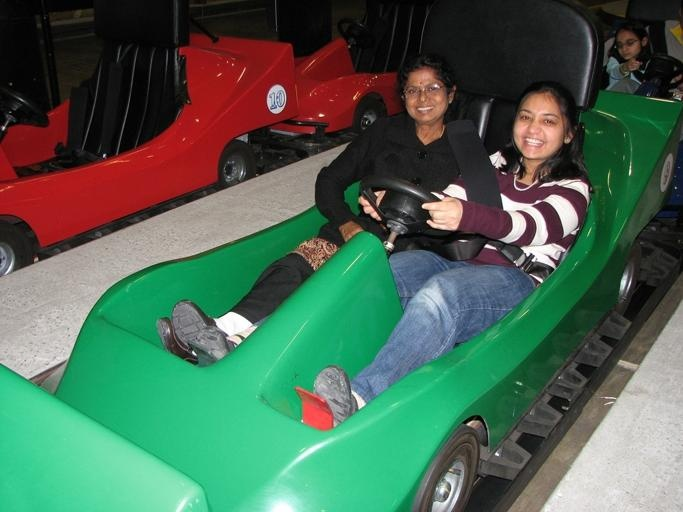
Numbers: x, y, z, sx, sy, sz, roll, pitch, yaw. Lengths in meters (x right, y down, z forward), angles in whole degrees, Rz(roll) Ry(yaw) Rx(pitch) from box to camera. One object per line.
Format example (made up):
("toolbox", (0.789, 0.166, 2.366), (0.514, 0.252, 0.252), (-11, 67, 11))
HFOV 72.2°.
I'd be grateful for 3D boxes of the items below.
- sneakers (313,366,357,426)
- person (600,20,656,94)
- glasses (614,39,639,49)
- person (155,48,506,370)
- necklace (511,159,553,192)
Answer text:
("sneakers", (-0.014, 0.334, 1.132), (0.074, 0.161, 0.065), (3, 24, 30))
("person", (2.039, -1.423, 3.340), (0.272, 0.439, 0.865), (16, 29, 25))
("glasses", (2.083, -1.554, 3.413), (0.104, 0.036, 0.111), (10, -16, 40))
("person", (-0.035, -0.138, 1.568), (0.540, 0.726, 1.180), (15, 28, 27))
("necklace", (0.620, -0.265, 1.591), (0.080, 0.108, 0.041), (27, -9, 23))
